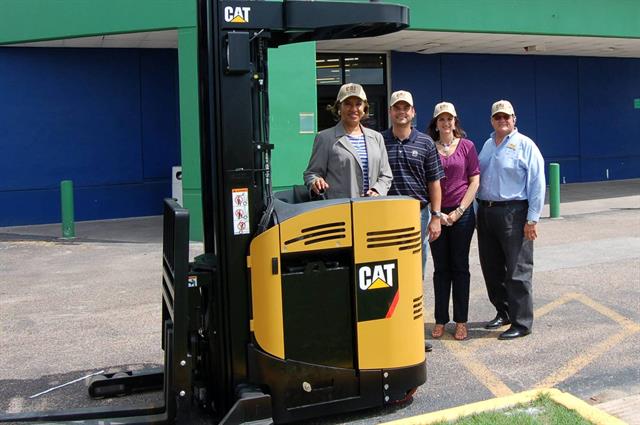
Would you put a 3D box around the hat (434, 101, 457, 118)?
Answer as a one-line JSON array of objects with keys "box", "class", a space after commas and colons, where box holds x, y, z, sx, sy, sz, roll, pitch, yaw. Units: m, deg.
[{"box": [1.582, -1.275, 7.483, 0.279, 0.241, 0.415, -3, 0, 9], "class": "hat"}]

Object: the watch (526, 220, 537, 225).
[{"box": [2.568, 0.129, 7.143, 0.063, 0.041, 0.057, -3, 5, -31], "class": "watch"}]

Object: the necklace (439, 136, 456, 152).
[{"box": [1.599, -0.825, 7.372, 0.242, 0.187, 0.073, -14, 26, -35], "class": "necklace"}]

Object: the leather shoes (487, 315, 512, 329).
[{"box": [2.341, 1.411, 7.685, 0.363, 0.155, 0.141, -1, -2, -29], "class": "leather shoes"}]

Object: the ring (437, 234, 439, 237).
[{"box": [1.431, 0.283, 7.118, 0.029, 0.030, 0.030, 3, 4, 0], "class": "ring"}]

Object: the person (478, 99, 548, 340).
[{"box": [2.348, 0.099, 7.362, 0.820, 2.866, 0.647, 6, 13, 32], "class": "person"}]

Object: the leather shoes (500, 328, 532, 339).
[{"box": [2.445, 1.491, 7.347, 0.388, 0.165, 0.156, 1, -3, -14], "class": "leather shoes"}]

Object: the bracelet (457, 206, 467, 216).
[{"box": [1.734, -0.011, 7.192, 0.081, 0.114, 0.040, 1, 10, -19], "class": "bracelet"}]

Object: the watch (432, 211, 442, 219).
[{"box": [1.417, 0.029, 7.073, 0.091, 0.060, 0.087, 3, -12, -26], "class": "watch"}]
